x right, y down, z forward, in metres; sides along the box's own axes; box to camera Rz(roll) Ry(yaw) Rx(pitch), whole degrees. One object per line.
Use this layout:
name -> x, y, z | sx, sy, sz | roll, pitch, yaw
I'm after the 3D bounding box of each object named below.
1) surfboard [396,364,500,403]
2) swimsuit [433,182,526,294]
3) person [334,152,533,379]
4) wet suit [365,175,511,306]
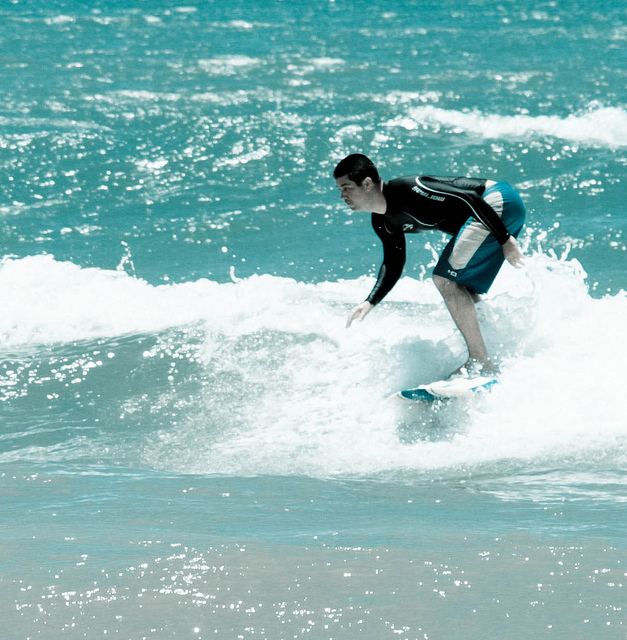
surfboard -> 1.069, 0.511, 9.975 | 0.712, 0.072, 0.288 | -6, 5, -24
swimsuit -> 1.375, -0.609, 10.098 | 1.105, 0.864, 0.656 | -11, 25, -26
person -> 0.878, -0.425, 10.093 | 1.471, 1.738, 0.709 | 6, 19, 3
wet suit -> 0.779, -0.743, 10.079 | 1.160, 0.681, 0.766 | -36, 13, -15
